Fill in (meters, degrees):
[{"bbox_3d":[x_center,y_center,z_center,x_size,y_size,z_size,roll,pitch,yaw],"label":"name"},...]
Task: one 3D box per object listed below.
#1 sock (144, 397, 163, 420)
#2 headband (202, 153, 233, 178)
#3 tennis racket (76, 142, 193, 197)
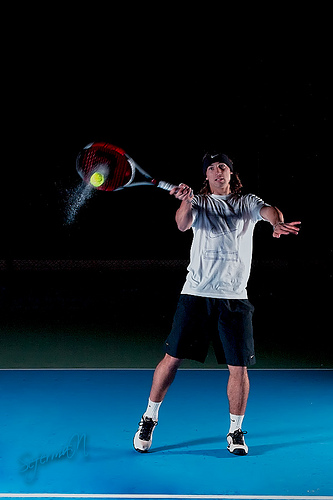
[{"bbox_3d":[-0.061,0.657,1.880,0.054,0.080,0.123,12,-32,0],"label":"sock"},{"bbox_3d":[0.210,-0.357,1.965,0.097,0.091,0.052,10,1,5],"label":"headband"},{"bbox_3d":[-0.109,-0.292,1.925,0.530,0.179,0.050,12,16,-30],"label":"tennis racket"}]
